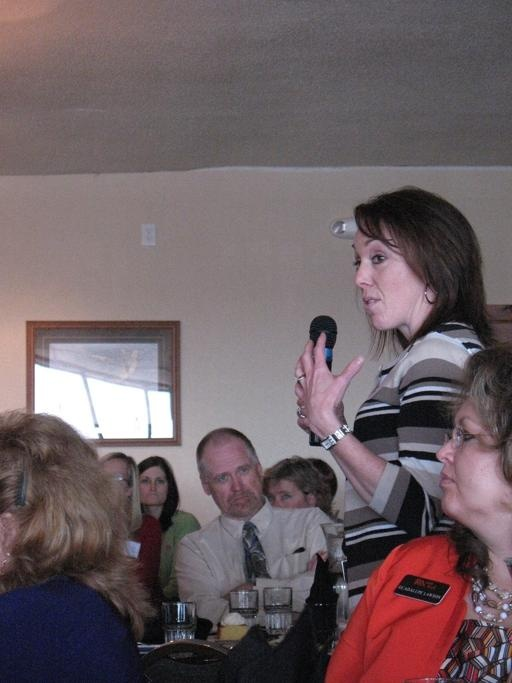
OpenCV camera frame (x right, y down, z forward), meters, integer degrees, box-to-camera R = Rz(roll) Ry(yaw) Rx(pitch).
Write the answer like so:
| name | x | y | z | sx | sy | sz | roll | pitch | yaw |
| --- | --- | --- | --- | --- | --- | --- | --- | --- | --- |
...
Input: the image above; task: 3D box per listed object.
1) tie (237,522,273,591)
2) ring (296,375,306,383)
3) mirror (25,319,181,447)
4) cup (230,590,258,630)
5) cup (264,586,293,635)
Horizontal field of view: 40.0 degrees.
| name | x | y | z | sx | sy | sz | roll | pitch | yaw |
| --- | --- | --- | --- | --- | --- | --- | --- | --- | --- |
| tie | -0.011 | 0.901 | 3.026 | 0.101 | 0.221 | 0.189 | -7 | -7 | -3 |
| ring | 0.087 | 0.073 | 1.359 | 0.013 | 0.015 | 0.006 | -11 | -55 | 19 |
| mirror | -0.976 | 0.266 | 4.592 | 1.148 | 0.828 | 0.051 | 4 | -10 | -42 |
| cup | -0.036 | 0.783 | 2.044 | 0.095 | 0.084 | 0.087 | 1 | -4 | 0 |
| cup | 0.061 | 0.732 | 1.898 | 0.083 | 0.109 | 0.187 | -7 | -6 | -1 |
